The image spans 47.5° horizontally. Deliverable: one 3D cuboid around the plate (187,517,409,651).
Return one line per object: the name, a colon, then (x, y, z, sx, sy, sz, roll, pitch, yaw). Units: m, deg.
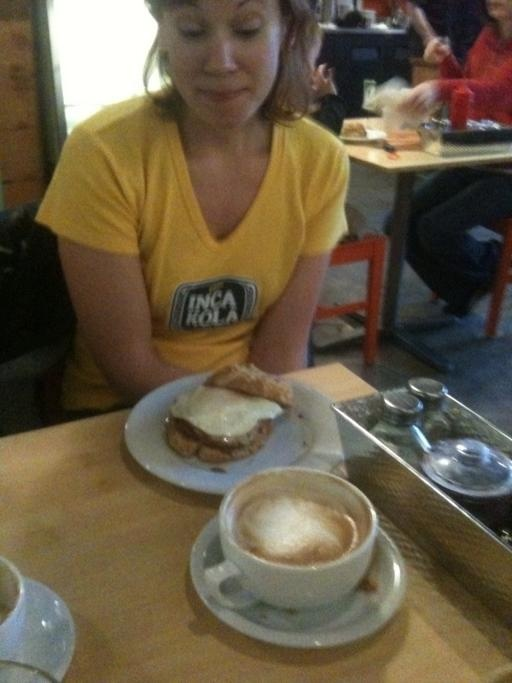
plate: (0.035, 0.218, 0.534, 0.202, 0.030, 0.126, 5, 23, 8)

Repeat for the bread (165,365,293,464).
bread: (-0.041, 0.090, 0.788, 0.113, 0.056, 0.160, 26, 35, 31)
